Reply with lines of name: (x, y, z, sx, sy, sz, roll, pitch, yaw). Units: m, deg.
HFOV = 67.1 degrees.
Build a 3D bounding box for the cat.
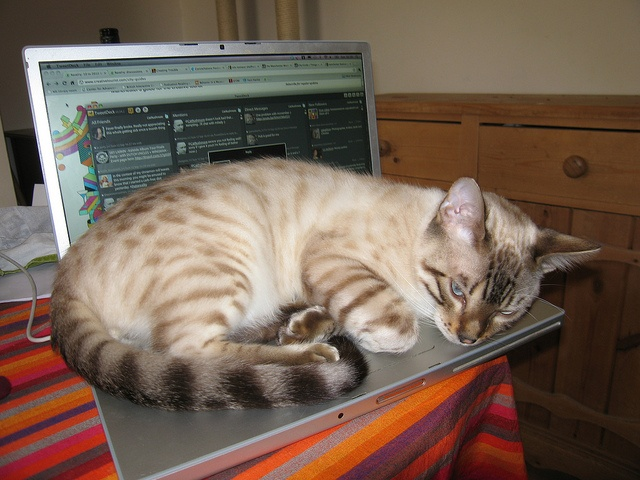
cat: (-0.054, 0.102, 1.216, 0.988, 0.350, 0.681, 2, 14, -7)
